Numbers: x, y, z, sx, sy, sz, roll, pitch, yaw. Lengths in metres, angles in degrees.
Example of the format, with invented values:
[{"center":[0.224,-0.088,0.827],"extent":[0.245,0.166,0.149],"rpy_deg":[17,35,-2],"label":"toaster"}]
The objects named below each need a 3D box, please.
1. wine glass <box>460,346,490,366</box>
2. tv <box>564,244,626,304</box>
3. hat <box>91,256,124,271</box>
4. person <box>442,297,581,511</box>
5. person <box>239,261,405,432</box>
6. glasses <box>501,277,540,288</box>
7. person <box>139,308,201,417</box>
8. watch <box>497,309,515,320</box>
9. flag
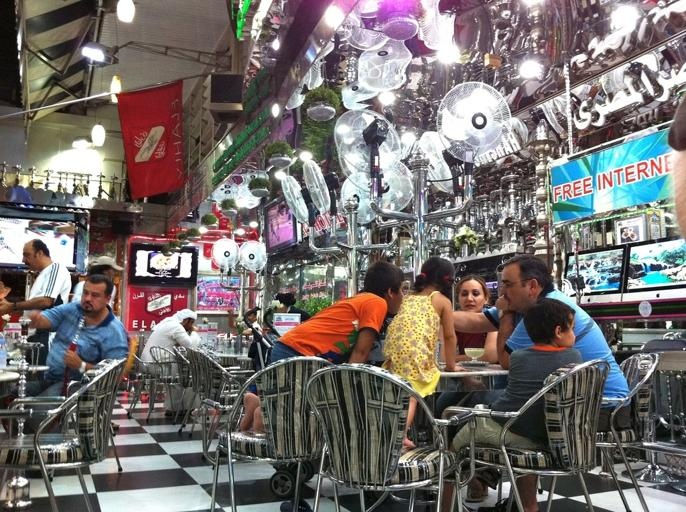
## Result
[{"center":[0.999,0.770,4.353],"extent":[0.217,0.098,0.230],"rpy_deg":[0,-10,0],"label":"wine glass"},{"center":[2.607,0.197,5.874],"extent":[0.472,0.651,0.145],"rpy_deg":[-14,-29,41],"label":"tv"},{"center":[-3.633,0.093,8.769],"extent":[0.523,0.200,0.334],"rpy_deg":[8,-4,-21],"label":"hat"},{"center":[1.036,0.925,3.464],"extent":[0.786,1.329,0.558],"rpy_deg":[0,-7,-1],"label":"person"},{"center":[-0.140,0.635,4.061],"extent":[1.109,1.206,0.453],"rpy_deg":[-2,-8,13],"label":"person"},{"center":[1.239,0.184,3.966],"extent":[0.267,0.063,0.096],"rpy_deg":[-4,-8,23],"label":"glasses"},{"center":[-2.333,1.457,7.820],"extent":[0.775,1.435,0.706],"rpy_deg":[4,-11,-22],"label":"person"},{"center":[1.253,0.437,4.318],"extent":[0.106,0.074,0.107],"rpy_deg":[11,-16,-31],"label":"watch"},{"center":[-3.023,-1.869,9.007],"extent":[0.990,1.890,0.793],"rpy_deg":[2,-8,-18],"label":"flag"}]
